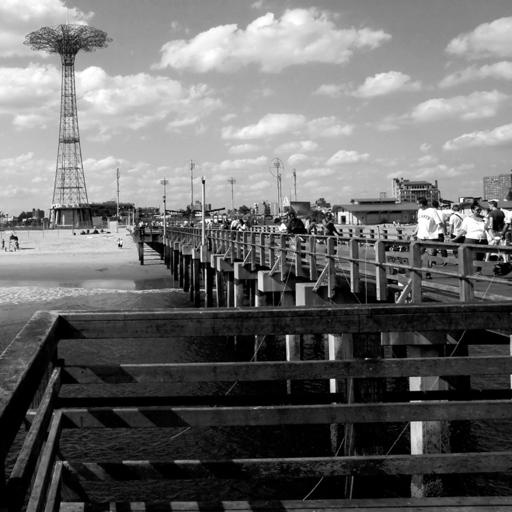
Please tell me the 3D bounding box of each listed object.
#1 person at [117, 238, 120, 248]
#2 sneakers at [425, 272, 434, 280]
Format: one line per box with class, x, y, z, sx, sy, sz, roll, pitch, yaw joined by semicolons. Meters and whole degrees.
person;-18.067;-1.723;82.535;0.342;1.452;1.719;2;-8;-11
sneakers;3.272;0.387;11.812;0.174;0.127;0.189;-2;0;22
